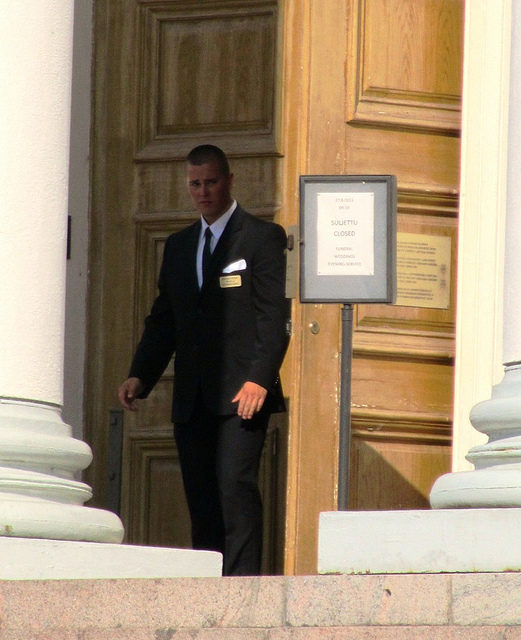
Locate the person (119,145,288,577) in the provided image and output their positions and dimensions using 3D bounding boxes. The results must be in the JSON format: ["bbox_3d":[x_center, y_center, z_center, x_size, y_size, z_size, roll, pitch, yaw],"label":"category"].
[{"bbox_3d":[-0.163,0.114,6.482,0.654,1.432,0.399,2,3,42],"label":"person"}]

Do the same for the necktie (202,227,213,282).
[{"bbox_3d":[-0.180,-0.225,6.544,0.026,0.180,0.033,-7,-21,27],"label":"necktie"}]
